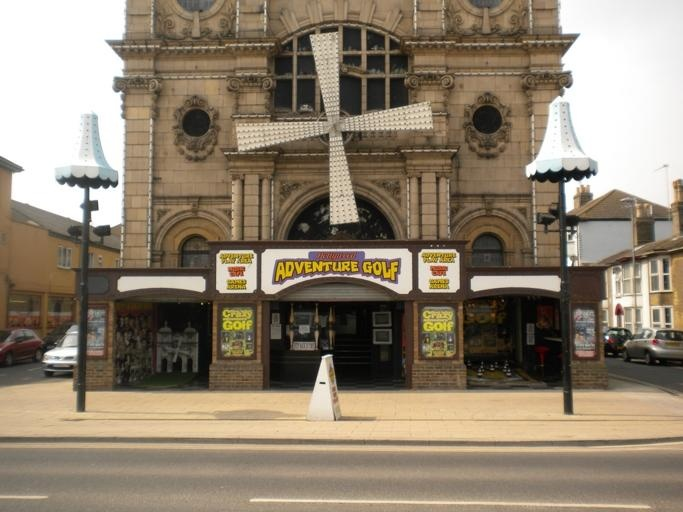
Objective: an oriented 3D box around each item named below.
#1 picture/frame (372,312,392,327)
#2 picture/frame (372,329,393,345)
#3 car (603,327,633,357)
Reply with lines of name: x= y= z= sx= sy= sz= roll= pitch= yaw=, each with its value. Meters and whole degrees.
picture/frame: x=1.715 y=2.668 z=39.296 sx=0.644 sy=0.646 sz=0.486 roll=-1 pitch=2 yaw=3
picture/frame: x=1.707 y=3.360 z=39.116 sx=0.645 sy=0.530 sz=0.693 roll=-1 pitch=-3 yaw=0
car: x=15.010 y=4.666 z=51.030 sx=1.250 sy=1.178 sz=2.238 roll=0 pitch=1 yaw=8
